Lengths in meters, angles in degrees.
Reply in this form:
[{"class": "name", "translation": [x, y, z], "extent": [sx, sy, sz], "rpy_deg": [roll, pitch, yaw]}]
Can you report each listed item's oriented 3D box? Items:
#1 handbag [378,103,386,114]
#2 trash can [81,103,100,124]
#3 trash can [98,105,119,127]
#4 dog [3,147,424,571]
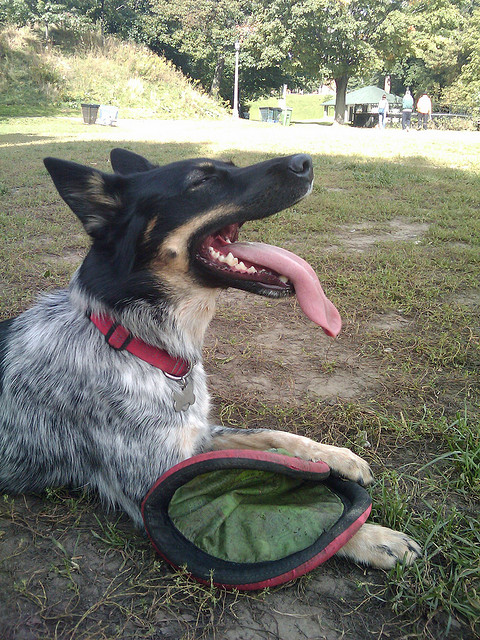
[{"class": "handbag", "translation": [7.156, -10.655, 26.129], "extent": [0.278, 0.442, 0.904], "rpy_deg": [7, 17, 12]}, {"class": "trash can", "translation": [-5.900, -8.170, 20.578], "extent": [0.607, 0.733, 0.384], "rpy_deg": [-5, 19, -25]}, {"class": "trash can", "translation": [-5.265, -8.161, 20.727], "extent": [0.750, 0.792, 0.930], "rpy_deg": [-1, 17, -15]}, {"class": "dog", "translation": [-0.326, 0.044, 2.283], "extent": [1.374, 1.542, 0.714], "rpy_deg": [-5, 19, -24]}]
